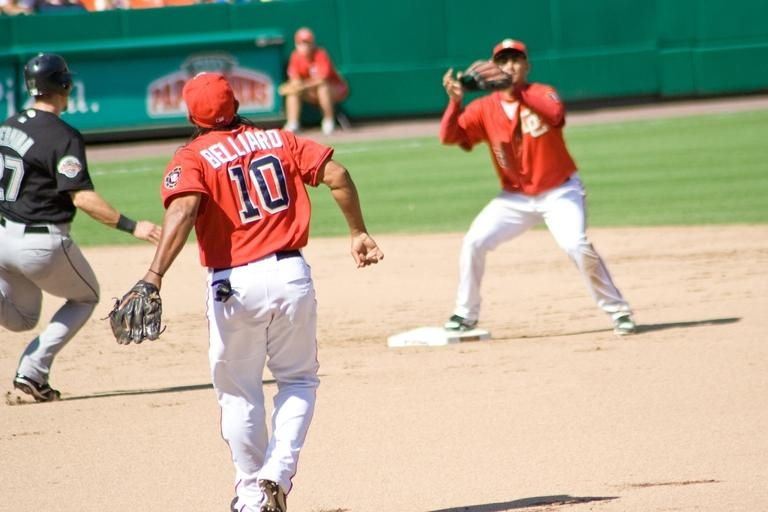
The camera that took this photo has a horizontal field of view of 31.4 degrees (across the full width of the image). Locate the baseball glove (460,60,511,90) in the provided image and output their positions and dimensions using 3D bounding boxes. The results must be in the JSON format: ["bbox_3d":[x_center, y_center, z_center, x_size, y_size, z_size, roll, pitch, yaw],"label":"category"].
[{"bbox_3d":[0.968,-1.686,12.658,0.406,0.250,0.145,1,-17,0],"label":"baseball glove"}]

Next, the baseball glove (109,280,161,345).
[{"bbox_3d":[-1.949,0.505,10.897,0.440,0.236,0.520,-1,47,6],"label":"baseball glove"}]

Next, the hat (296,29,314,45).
[{"bbox_3d":[-1.225,-3.431,21.232,0.267,0.218,0.328,-4,9,-4],"label":"hat"}]

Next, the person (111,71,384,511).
[{"bbox_3d":[-1.089,0.278,11.081,1.720,3.495,0.993,-1,10,14],"label":"person"}]

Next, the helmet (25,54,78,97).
[{"bbox_3d":[-2.968,-1.661,12.236,0.468,0.325,0.349,-24,24,-25],"label":"helmet"}]

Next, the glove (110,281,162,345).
[{"bbox_3d":[-1.943,0.448,10.961,0.431,0.236,0.517,-2,46,12],"label":"glove"}]

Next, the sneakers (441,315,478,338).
[{"bbox_3d":[0.739,0.663,13.117,0.287,0.109,0.153,3,2,-7],"label":"sneakers"}]

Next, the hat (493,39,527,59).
[{"bbox_3d":[1.183,-1.957,12.870,0.296,0.161,0.326,-3,9,1],"label":"hat"}]
